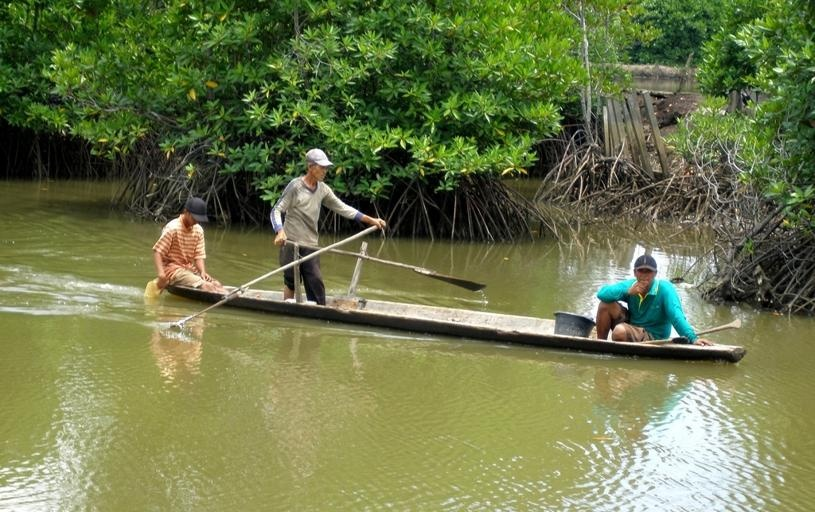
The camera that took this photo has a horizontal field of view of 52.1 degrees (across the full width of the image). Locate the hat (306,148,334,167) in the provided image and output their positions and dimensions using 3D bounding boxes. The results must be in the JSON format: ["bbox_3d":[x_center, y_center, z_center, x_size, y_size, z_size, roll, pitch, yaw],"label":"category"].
[{"bbox_3d":[-1.146,-1.252,10.604,0.344,0.176,0.217,7,18,3],"label":"hat"}]

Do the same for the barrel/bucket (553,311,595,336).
[{"bbox_3d":[2.031,0.860,10.240,0.349,0.160,0.349,14,-9,2],"label":"barrel/bucket"}]

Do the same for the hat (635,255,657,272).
[{"bbox_3d":[2.799,0.095,9.803,0.252,0.179,0.213,5,8,15],"label":"hat"}]

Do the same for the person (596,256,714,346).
[{"bbox_3d":[3.233,0.620,10.830,0.556,0.733,1.063,-10,18,-43],"label":"person"}]

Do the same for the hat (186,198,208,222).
[{"bbox_3d":[-2.769,-0.585,10.843,0.258,0.307,0.373,0,9,-18],"label":"hat"}]

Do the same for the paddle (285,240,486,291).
[{"bbox_3d":[-0.371,0.169,12.481,2.371,0.166,0.308,13,23,13],"label":"paddle"}]

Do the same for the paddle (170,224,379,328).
[{"bbox_3d":[-1.877,0.323,11.493,2.697,0.390,0.417,-25,41,-16],"label":"paddle"}]
